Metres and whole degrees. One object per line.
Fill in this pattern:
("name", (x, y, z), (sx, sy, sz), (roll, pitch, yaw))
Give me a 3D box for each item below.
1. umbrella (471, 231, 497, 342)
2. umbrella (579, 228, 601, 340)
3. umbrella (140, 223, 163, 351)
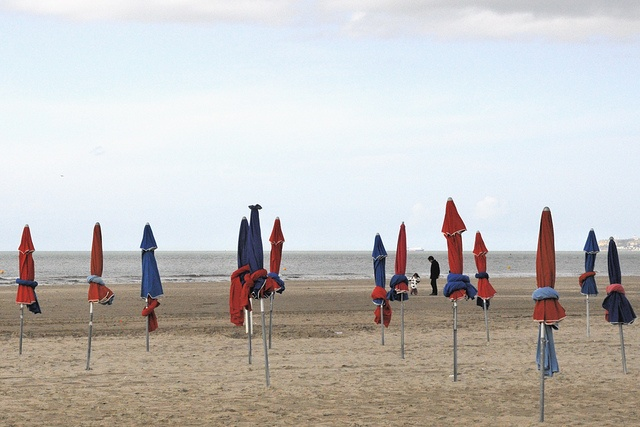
("umbrella", (7.159, 3.590, 67.838), (1.343, 4.780, 1.078), (0, -1, -2))
("umbrella", (11.738, 3.430, 67.110), (1.104, 4.624, 1.213), (0, -11, -13))
("umbrella", (-6.898, 3.358, 62.204), (1.560, 4.982, 1.278), (4, -7, -4))
